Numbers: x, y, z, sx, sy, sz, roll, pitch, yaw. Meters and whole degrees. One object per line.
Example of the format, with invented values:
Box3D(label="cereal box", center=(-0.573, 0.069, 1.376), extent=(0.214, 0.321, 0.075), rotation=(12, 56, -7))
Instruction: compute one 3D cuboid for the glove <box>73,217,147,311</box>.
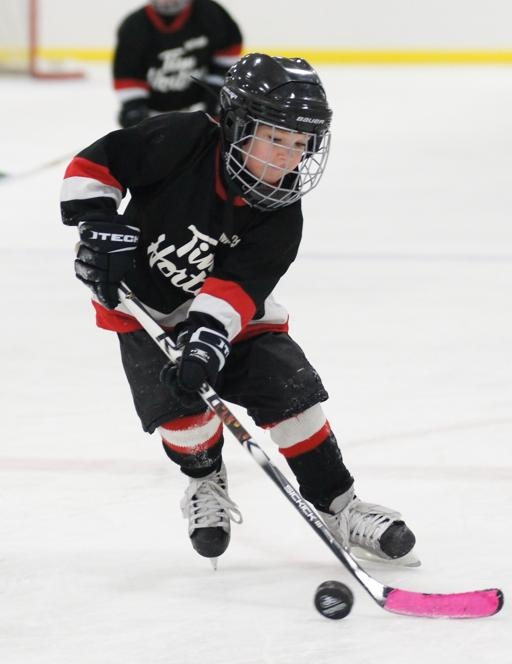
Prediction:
Box3D(label="glove", center=(-0.282, -0.134, 1.436), extent=(0.156, 0.150, 0.061), rotation=(20, 28, 13))

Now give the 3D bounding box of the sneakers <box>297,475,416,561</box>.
Box3D(label="sneakers", center=(0.210, 0.371, 1.445), extent=(0.101, 0.098, 0.194), rotation=(43, -6, -39))

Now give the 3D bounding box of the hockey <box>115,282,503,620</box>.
Box3D(label="hockey", center=(-0.024, 0.240, 1.326), extent=(0.875, 0.069, 0.280), rotation=(40, 44, 25))

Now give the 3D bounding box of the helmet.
Box3D(label="helmet", center=(0.031, -0.371, 1.340), extent=(0.211, 0.295, 0.220), rotation=(5, 10, -1))

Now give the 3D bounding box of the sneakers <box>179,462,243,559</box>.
Box3D(label="sneakers", center=(-0.082, 0.335, 1.399), extent=(0.095, 0.069, 0.168), rotation=(-15, 33, 8))

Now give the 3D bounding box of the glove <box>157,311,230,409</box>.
Box3D(label="glove", center=(-0.110, 0.043, 1.273), extent=(0.079, 0.162, 0.120), rotation=(5, 40, -45))
